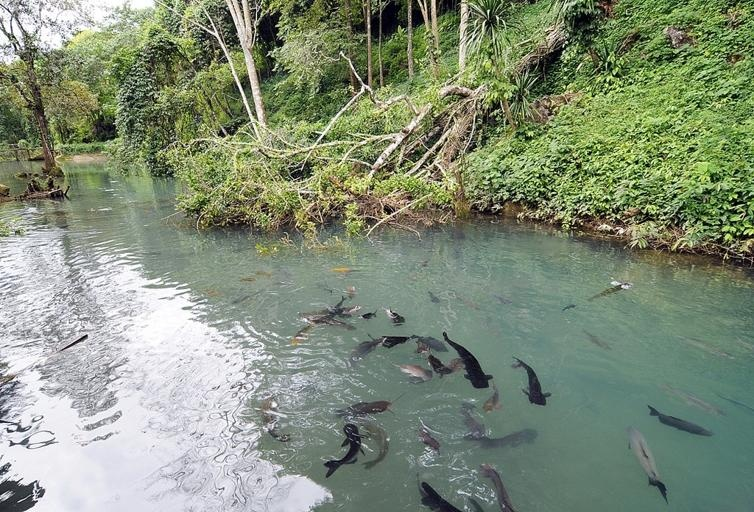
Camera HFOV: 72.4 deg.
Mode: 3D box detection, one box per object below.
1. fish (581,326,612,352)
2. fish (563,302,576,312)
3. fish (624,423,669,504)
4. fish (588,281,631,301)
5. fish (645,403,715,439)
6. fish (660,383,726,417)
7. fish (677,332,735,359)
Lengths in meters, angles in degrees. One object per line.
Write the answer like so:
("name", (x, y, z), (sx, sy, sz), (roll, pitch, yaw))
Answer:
("fish", (4.527, 1.864, 10.703), (0.184, 0.090, 0.599), (-24, 36, -5))
("fish", (4.296, 1.275, 11.508), (0.371, 0.110, 0.157), (-5, 12, -14))
("fish", (4.603, 3.813, 9.077), (0.371, 0.466, 1.262), (-20, 55, 13))
("fish", (5.412, 0.948, 12.006), (0.745, 0.156, 0.170), (-16, 37, -23))
("fish", (5.498, 3.196, 9.430), (1.092, 0.398, 0.187), (15, 6, 1))
("fish", (5.831, 2.905, 9.805), (1.306, 0.191, 0.346), (20, 59, 17))
("fish", (6.699, 1.988, 10.510), (0.740, 0.125, 0.125), (23, 63, 24))
